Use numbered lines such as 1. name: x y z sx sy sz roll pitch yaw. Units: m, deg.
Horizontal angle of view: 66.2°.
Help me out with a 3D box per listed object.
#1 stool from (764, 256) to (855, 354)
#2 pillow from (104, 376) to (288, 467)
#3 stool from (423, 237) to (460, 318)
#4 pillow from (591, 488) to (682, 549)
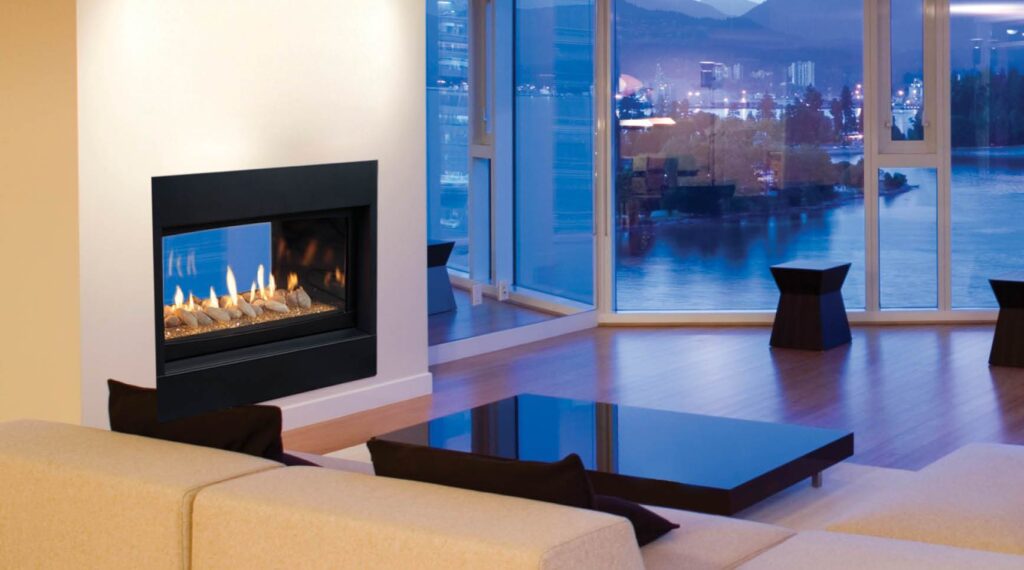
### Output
1. stool: 2.555 0.188 6.744 0.761 0.807 0.753 -1 1 2
2. pillow: -1.140 0.430 2.944 0.439 0.114 0.421 5 2 14
3. stool: -0.626 -0.066 6.933 0.230 0.596 0.449 -2 12 -3
4. pillow: 0.491 0.907 3.056 0.353 0.108 0.375 19 4 41
